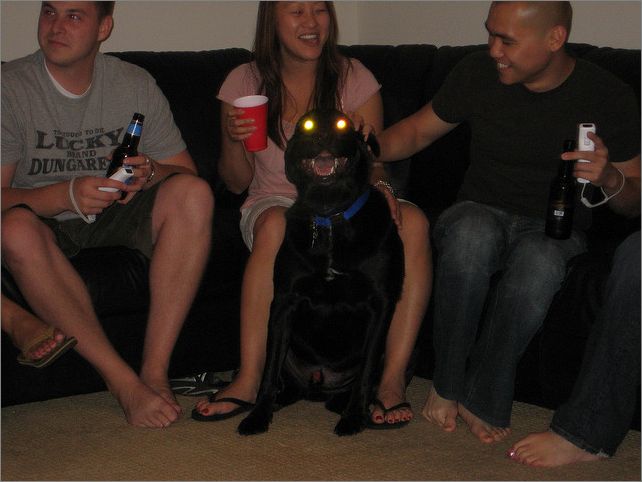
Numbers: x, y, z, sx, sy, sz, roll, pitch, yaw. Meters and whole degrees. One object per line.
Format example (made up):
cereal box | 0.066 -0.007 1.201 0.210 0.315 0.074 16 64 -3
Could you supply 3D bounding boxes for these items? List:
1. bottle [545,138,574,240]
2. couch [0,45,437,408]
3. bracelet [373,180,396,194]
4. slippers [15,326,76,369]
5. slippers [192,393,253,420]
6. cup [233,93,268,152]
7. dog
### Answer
bottle | 0.980 -0.172 2.326 0.099 0.314 0.172 6 14 24
couch | -0.471 -0.019 2.421 1.508 1.055 0.819 -8 11 -28
bracelet | 0.272 -0.230 2.420 0.045 0.050 0.136 -2 14 -11
slippers | -1.080 0.427 2.229 0.227 0.070 0.129 -24 16 28
slippers | -0.386 0.673 2.362 0.270 0.103 0.101 -1 17 -7
cup | -0.260 -0.480 2.352 0.196 0.233 0.195 -8 10 1
dog | 0.011 0.139 2.191 0.604 1.249 0.312 2 13 8
